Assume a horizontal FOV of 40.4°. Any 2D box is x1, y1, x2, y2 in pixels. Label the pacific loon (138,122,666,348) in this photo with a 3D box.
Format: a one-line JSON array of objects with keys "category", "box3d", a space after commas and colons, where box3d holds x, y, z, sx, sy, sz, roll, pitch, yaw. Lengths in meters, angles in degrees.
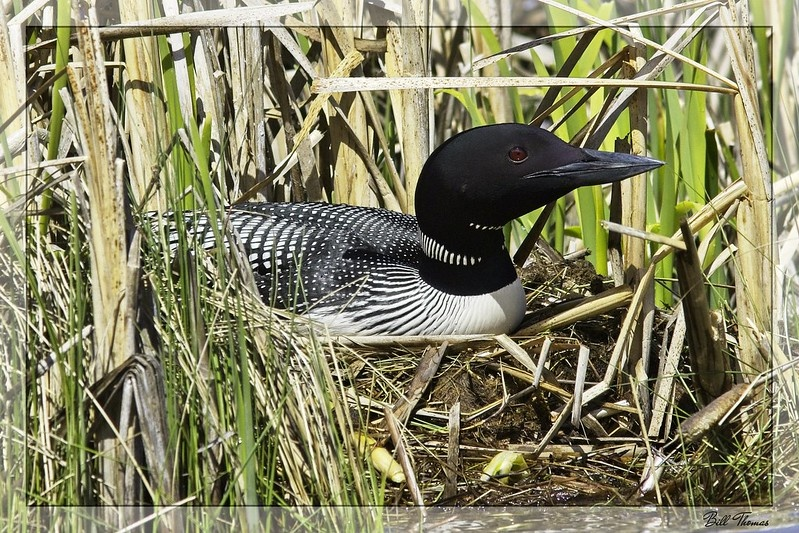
[{"category": "pacific loon", "box3d": [-0.139, 0.043, 3.268, 1.751, 0.900, 0.535, 5, 0, 39]}]
